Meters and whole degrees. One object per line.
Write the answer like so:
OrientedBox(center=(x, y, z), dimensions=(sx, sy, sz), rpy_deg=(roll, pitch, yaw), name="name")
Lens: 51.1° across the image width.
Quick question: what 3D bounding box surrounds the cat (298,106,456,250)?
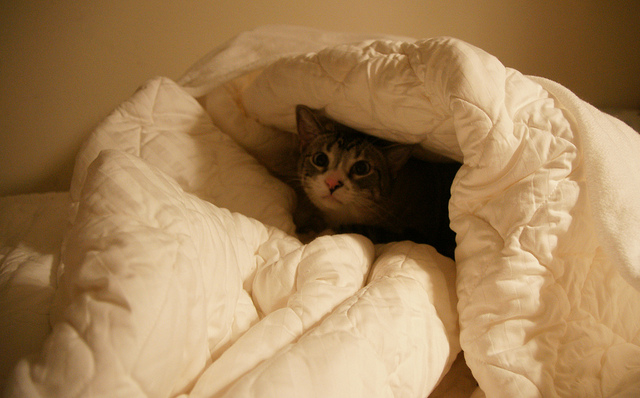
OrientedBox(center=(0.241, 0.001, 3.526), dimensions=(0.482, 0.720, 1.017), rpy_deg=(15, -7, 28), name="cat")
